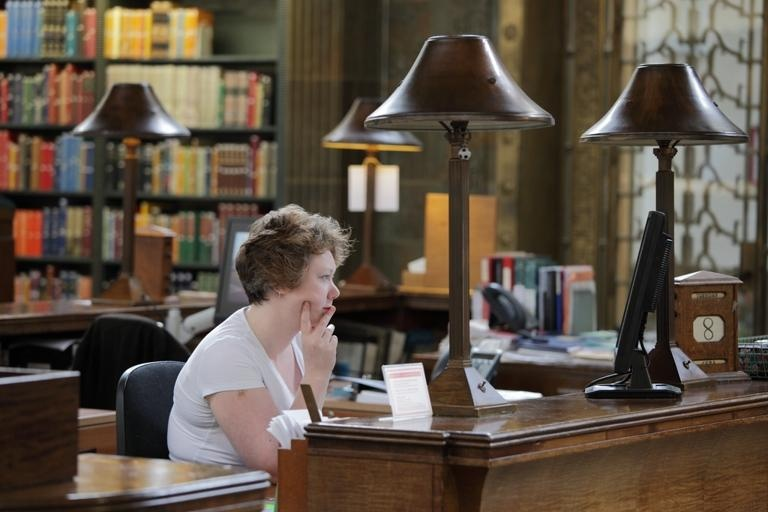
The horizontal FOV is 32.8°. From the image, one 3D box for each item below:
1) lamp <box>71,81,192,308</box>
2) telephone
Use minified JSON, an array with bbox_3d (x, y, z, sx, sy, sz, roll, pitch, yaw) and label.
[{"bbox_3d":[-1.507,-0.377,7.766,0.660,1.319,0.625,-1,2,-15],"label":"lamp"},{"bbox_3d":[0.736,0.326,7.320,0.347,0.172,0.241,16,20,25],"label":"telephone"}]
